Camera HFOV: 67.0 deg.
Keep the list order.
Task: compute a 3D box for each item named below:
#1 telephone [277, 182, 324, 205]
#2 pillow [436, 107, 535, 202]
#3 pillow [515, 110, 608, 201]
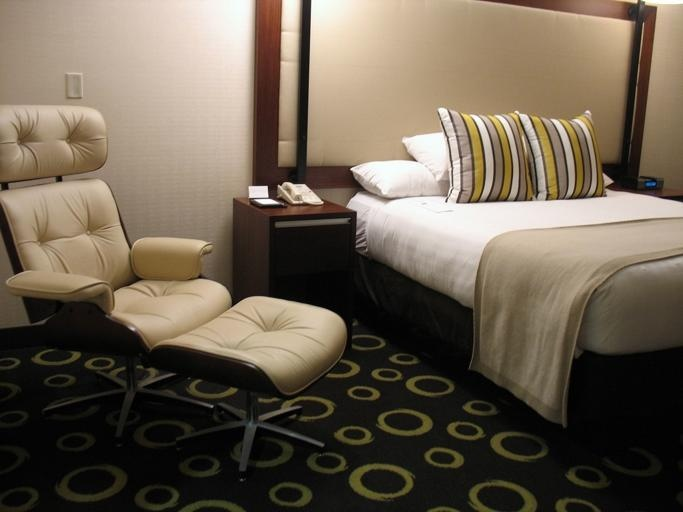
[{"bbox_3d":[-0.254,-0.364,3.035,0.167,0.076,0.205,-4,21,-28],"label":"telephone"},{"bbox_3d":[0.939,-0.620,3.337,0.728,0.593,0.271,-10,4,-33],"label":"pillow"},{"bbox_3d":[1.517,-0.677,3.576,0.826,0.609,0.296,-8,11,-34],"label":"pillow"}]
